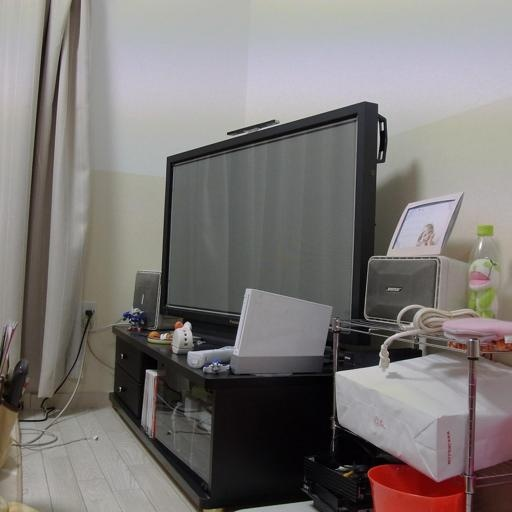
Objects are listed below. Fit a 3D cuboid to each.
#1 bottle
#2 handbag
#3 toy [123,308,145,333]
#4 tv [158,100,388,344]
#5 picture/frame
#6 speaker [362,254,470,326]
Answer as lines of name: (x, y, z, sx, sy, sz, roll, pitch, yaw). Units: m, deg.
bottle: (0.633, 0.033, 1.352, 0.081, 0.249, 0.225, 5, 1, 25)
handbag: (0.410, 0.338, 1.156, 0.324, 0.234, 0.346, 4, 1, -29)
toy: (-0.580, 0.316, 2.396, 0.103, 0.139, 0.096, 5, -5, -43)
tv: (-0.008, -0.098, 2.107, 1.153, 0.854, 0.115, 0, -4, 43)
picture/frame: (0.518, -0.082, 1.471, 0.081, 0.186, 0.236, 9, -4, -22)
speaker: (0.451, 0.106, 1.418, 0.142, 0.200, 0.259, 8, -5, -35)
